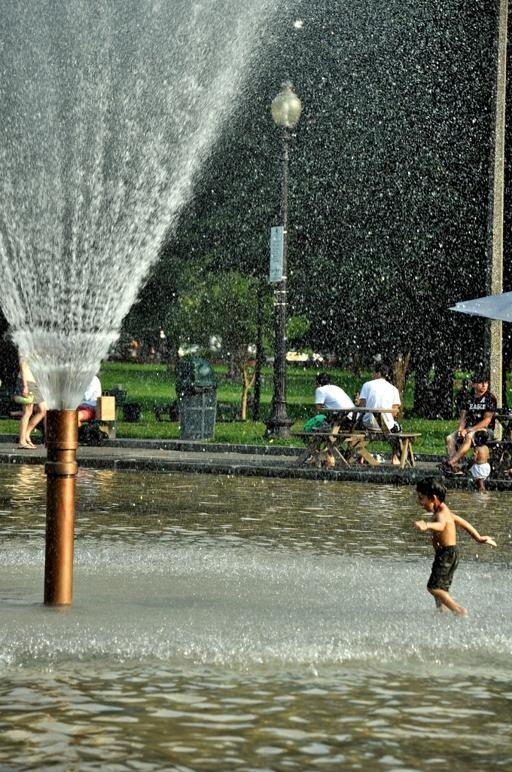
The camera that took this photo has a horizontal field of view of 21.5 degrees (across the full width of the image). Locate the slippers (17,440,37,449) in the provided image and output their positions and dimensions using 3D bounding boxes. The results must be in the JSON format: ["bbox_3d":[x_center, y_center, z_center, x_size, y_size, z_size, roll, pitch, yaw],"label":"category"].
[{"bbox_3d":[-3.341,0.838,19.734,0.352,0.176,0.115,-2,-1,44],"label":"slippers"}]

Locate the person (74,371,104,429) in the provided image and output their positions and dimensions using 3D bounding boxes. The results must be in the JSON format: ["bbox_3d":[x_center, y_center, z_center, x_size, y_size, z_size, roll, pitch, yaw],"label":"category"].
[{"bbox_3d":[-2.517,0.221,20.663,0.341,0.792,1.575,0,0,-7],"label":"person"}]
